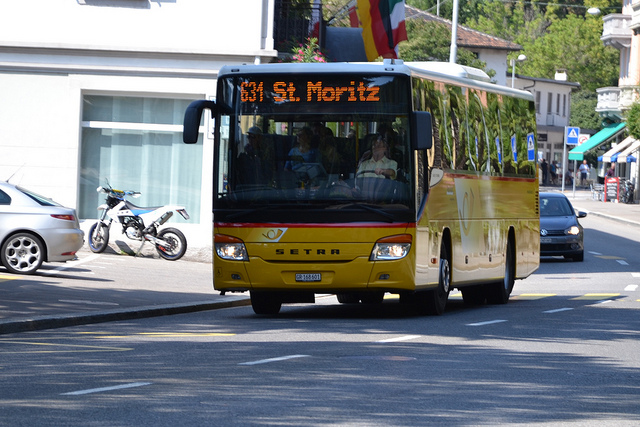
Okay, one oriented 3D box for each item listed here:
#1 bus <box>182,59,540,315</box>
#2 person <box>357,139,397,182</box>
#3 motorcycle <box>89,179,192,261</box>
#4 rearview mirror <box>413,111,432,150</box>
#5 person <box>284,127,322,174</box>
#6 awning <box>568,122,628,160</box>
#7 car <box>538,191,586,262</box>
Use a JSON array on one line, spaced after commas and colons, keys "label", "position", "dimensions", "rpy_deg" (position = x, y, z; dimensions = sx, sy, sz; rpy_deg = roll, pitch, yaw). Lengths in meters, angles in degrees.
[{"label": "bus", "position": [1.796, -0.591, 18.194], "dimensions": [3.736, 4.572, 9.701], "rpy_deg": [1, 1, 26]}, {"label": "person", "position": [0.874, -0.838, 13.712], "dimensions": [0.712, 0.777, 0.986], "rpy_deg": [1, -3, 8]}, {"label": "motorcycle", "position": [-5.117, 0.251, 23.277], "dimensions": [3.233, 2.028, 1.457], "rpy_deg": [4, 6, 21]}, {"label": "rearview mirror", "position": [1.640, -1.358, 13.653], "dimensions": [0.302, 0.625, 0.173], "rpy_deg": [-5, -3, 6]}, {"label": "person", "position": [-0.258, -0.986, 13.792], "dimensions": [0.852, 0.892, 0.493], "rpy_deg": [-2, -10, 9]}, {"label": "awning", "position": [25.513, -6.492, 77.210], "dimensions": [3.940, 2.115, 5.857], "rpy_deg": [-14, -3, -1]}, {"label": "car", "position": [8.155, 0.461, 28.814], "dimensions": [1.427, 2.499, 2.645], "rpy_deg": [-5, -3, 15]}]
